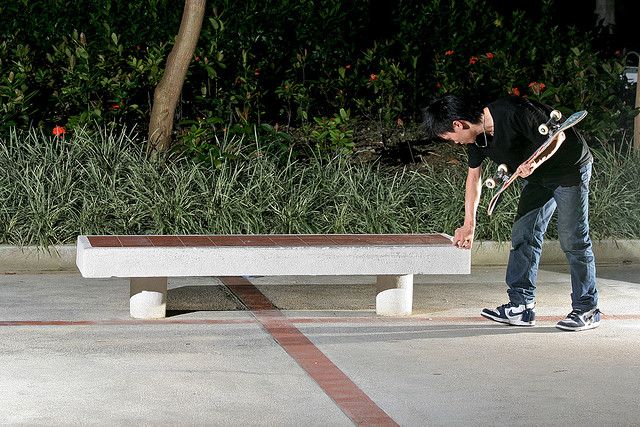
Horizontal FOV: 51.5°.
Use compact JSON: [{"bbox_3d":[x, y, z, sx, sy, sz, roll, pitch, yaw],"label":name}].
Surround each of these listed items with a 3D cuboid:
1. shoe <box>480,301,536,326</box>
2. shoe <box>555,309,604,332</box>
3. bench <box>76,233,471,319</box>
[{"bbox_3d":[1.804,0.939,6.289,0.519,0.224,0.180,4,2,12],"label":"shoe"},{"bbox_3d":[2.377,0.972,6.085,0.488,0.197,0.154,0,-1,-16],"label":"shoe"},{"bbox_3d":[-0.447,0.618,6.471,3.605,0.741,0.725,0,6,-9],"label":"bench"}]
